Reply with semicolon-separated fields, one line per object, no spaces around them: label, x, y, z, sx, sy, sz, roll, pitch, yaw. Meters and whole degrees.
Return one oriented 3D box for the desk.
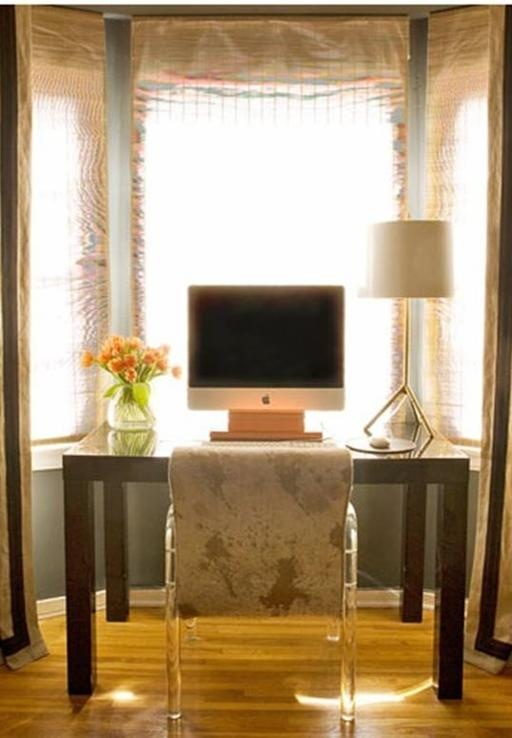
desk;-0.031;0.421;2.293;0.905;0.746;0.710;0;-1;1

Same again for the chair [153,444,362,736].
chair;0.014;0.399;2.018;0.453;0.784;0.658;-1;22;-2

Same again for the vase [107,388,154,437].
vase;-0.364;0.125;2.262;0.101;0.108;0.115;0;2;5

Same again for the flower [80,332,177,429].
flower;-0.354;0.046;2.297;0.240;0.312;0.252;-1;0;5
